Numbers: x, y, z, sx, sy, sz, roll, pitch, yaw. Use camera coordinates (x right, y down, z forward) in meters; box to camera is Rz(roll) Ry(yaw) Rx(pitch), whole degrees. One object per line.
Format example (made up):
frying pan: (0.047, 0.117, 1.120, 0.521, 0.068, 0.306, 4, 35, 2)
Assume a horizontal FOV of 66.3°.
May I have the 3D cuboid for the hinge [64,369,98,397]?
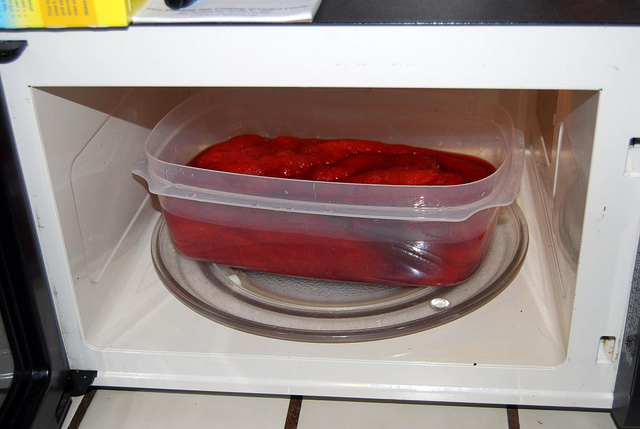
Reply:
hinge: (-0.424, 0.294, 0.864, 0.047, 0.017, 0.047, 9, 52, -1)
